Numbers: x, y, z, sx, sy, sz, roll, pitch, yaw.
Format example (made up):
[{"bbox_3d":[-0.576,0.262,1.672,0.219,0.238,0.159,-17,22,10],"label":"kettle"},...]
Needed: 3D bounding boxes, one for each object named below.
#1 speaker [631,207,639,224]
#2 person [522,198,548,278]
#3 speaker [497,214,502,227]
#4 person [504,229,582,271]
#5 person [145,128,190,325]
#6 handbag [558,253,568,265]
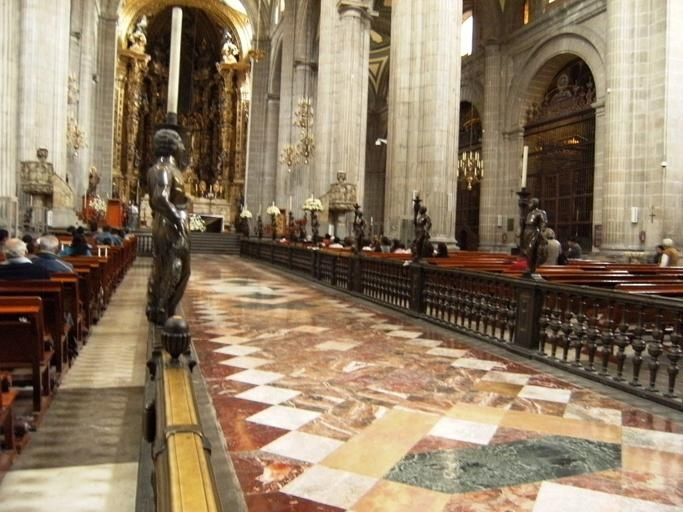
[{"bbox_3d":[8.260,-1.156,14.997,0.244,0.451,0.109,0,4,5],"label":"speaker"},{"bbox_3d":[2.475,-0.243,6.799,0.244,1.000,0.614,1,4,20],"label":"person"},{"bbox_3d":[6.650,-1.497,22.339,0.222,0.502,0.119,-1,4,-8],"label":"speaker"},{"bbox_3d":[4.378,-0.156,11.225,1.761,0.644,0.795,-5,26,-8],"label":"person"},{"bbox_3d":[-1.227,-0.216,3.766,0.306,1.399,0.418,-2,4,-21],"label":"person"},{"bbox_3d":[4.294,0.046,10.370,0.200,0.256,0.242,0,-5,-9],"label":"handbag"}]
